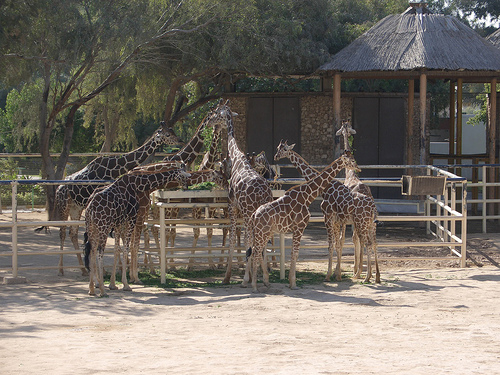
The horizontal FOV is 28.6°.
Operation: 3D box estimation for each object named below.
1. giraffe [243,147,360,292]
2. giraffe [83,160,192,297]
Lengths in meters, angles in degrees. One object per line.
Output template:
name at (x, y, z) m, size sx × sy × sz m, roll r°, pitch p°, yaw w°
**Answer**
giraffe at (0.952, 0.689, 22.866) m, size 2.677 × 3.111 × 1.487 m, roll -8°, pitch 13°, yaw -33°
giraffe at (-2.862, 0.961, 22.556) m, size 0.771 × 2.571 × 2.150 m, roll 7°, pitch 14°, yaw 35°
